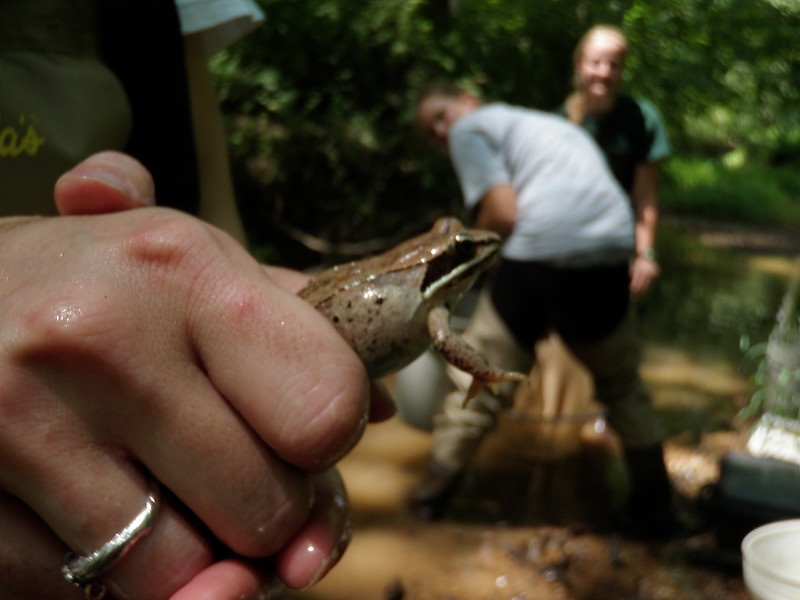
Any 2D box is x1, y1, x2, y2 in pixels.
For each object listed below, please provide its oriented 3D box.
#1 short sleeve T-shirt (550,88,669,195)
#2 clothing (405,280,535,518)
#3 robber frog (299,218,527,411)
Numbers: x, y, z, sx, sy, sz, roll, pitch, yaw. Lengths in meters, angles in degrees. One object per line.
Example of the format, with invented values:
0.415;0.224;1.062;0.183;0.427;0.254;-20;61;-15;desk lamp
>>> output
0.345;-0.298;1.292;0.120;0.211;0.068;-26;6;37;short sleeve T-shirt
0.120;0.187;1.420;0.119;0.351;0.249;21;23;-22;clothing
0.026;-0.011;1.359;0.332;0.162;0.298;-14;32;-6;robber frog
